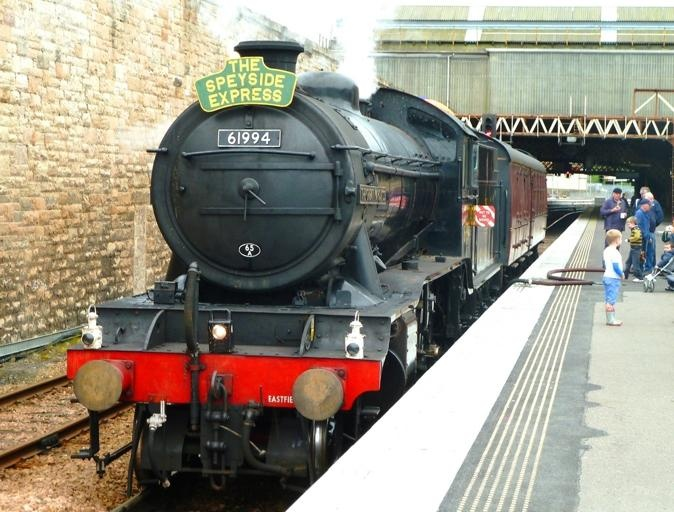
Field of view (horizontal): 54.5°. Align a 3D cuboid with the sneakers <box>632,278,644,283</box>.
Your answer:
[{"bbox_3d":[6.078,0.480,13.305,0.075,0.073,0.169,-2,0,-26],"label":"sneakers"}]

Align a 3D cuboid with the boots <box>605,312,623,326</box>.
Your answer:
[{"bbox_3d":[3.925,0.888,9.318,0.206,0.213,0.119,-9,16,-11],"label":"boots"}]
